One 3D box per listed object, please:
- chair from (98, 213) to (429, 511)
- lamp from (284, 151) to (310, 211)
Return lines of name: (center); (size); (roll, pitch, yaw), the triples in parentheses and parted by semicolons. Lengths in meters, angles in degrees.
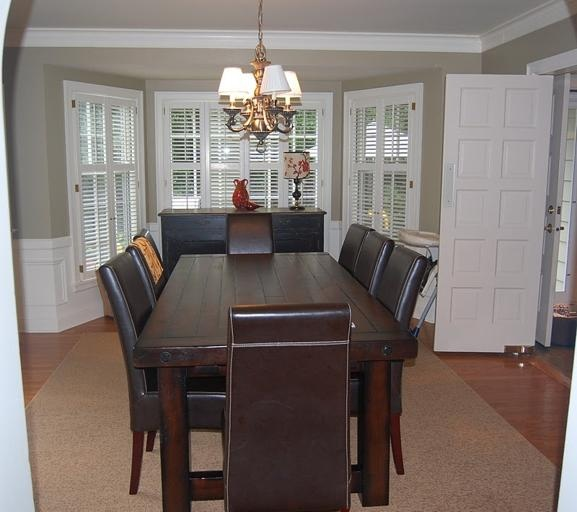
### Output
chair: (-0.109, 0.477, 2.148); (0.809, 0.549, 1.400); (-3, 16, -6)
lamp: (0.077, -0.835, 5.346); (0.254, 0.610, 0.681); (0, 10, 0)
